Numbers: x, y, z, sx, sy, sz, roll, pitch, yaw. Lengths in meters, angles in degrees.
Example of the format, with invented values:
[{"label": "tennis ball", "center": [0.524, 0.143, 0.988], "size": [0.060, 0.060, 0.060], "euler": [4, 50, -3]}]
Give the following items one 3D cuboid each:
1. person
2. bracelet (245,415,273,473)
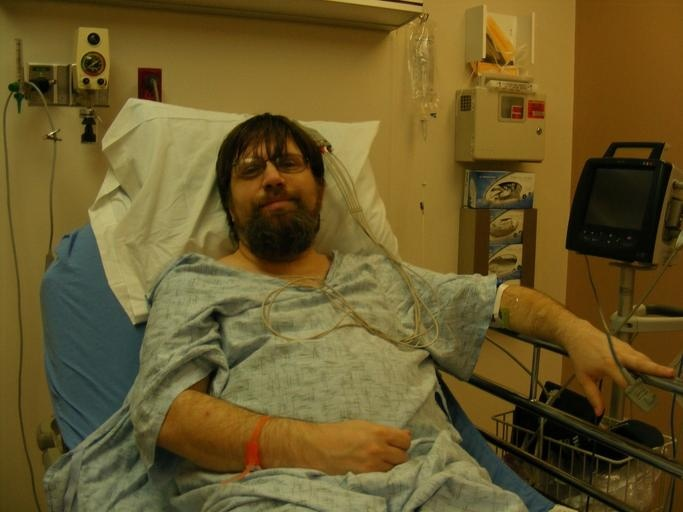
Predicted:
[{"label": "person", "center": [-0.127, 0.234, 2.168], "size": [1.192, 0.689, 1.563], "euler": [-3, 21, -28]}, {"label": "bracelet", "center": [-0.240, 0.570, 1.941], "size": [0.038, 0.118, 0.082], "euler": [8, -5, -3]}]
